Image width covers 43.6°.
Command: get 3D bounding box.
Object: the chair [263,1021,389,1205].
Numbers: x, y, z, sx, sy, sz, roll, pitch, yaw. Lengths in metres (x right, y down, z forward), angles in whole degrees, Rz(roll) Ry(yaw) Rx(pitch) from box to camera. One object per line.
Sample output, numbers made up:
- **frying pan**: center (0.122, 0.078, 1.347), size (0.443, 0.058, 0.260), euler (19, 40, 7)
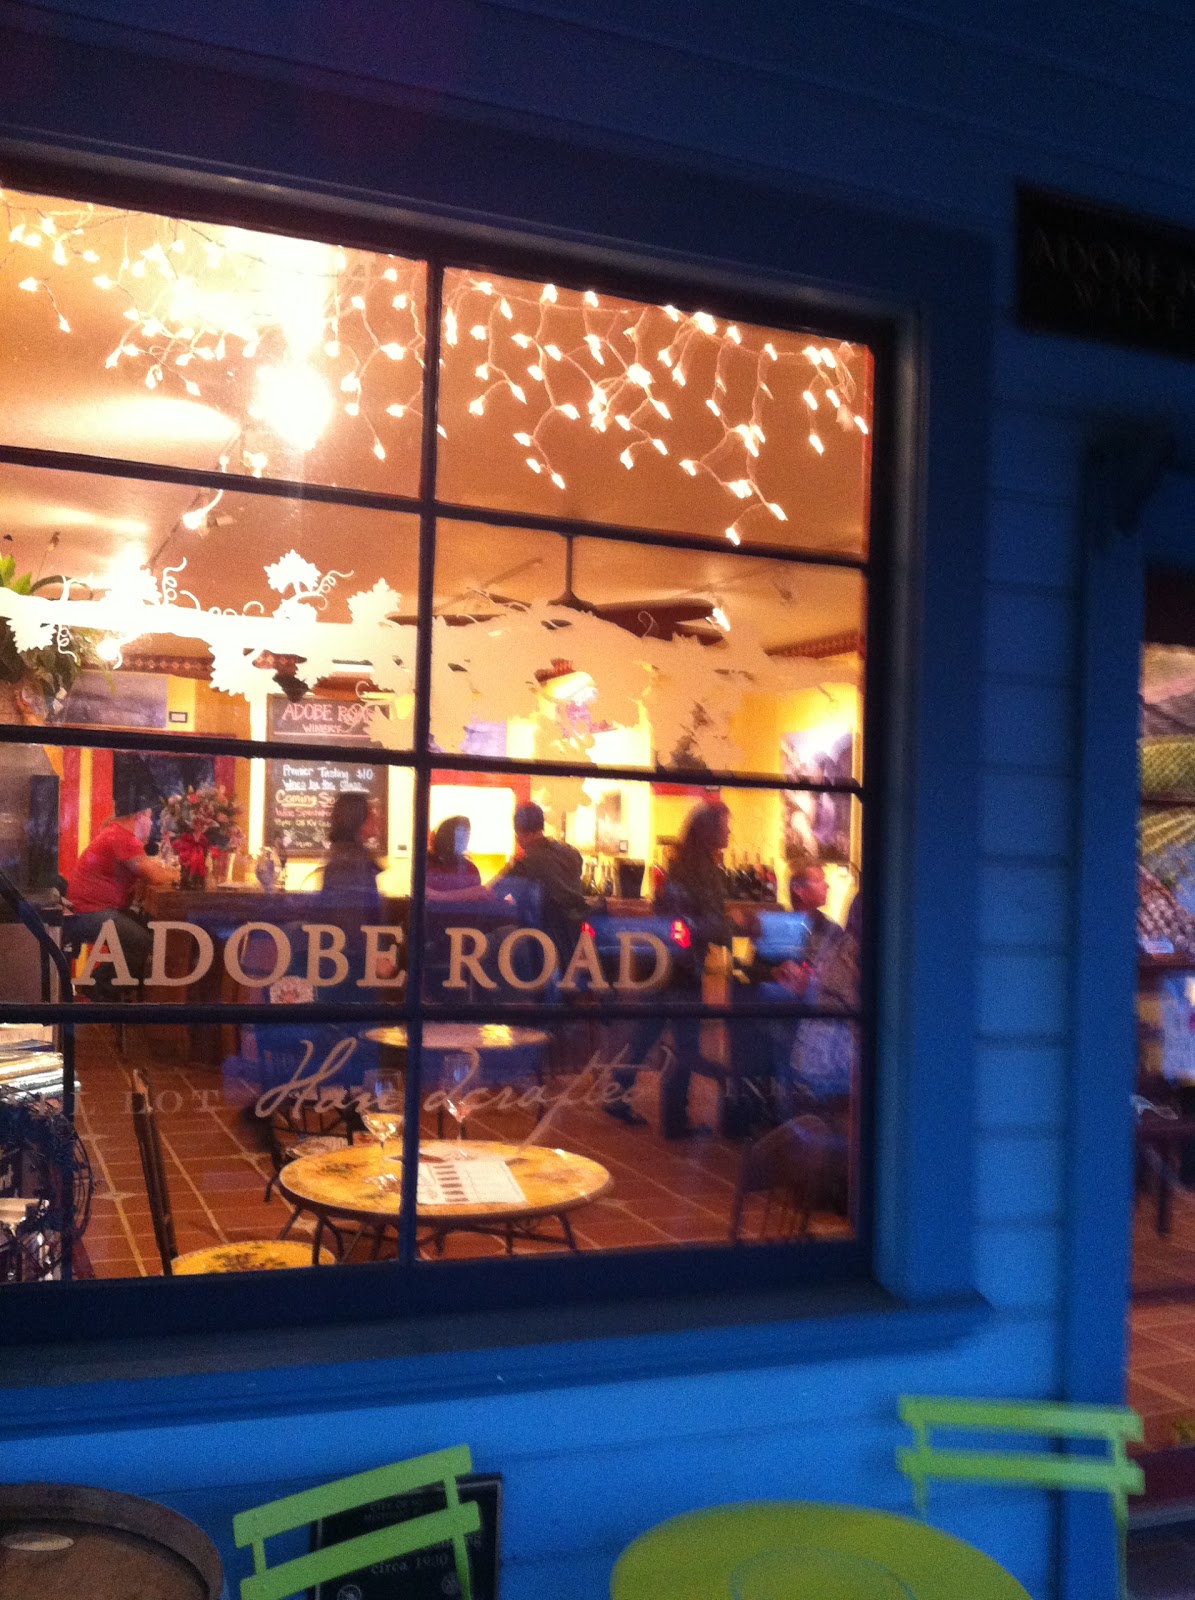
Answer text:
- **chair**: center (-0.403, 0.470, 2.222), size (0.209, 0.271, 0.209), euler (1, -8, 7)
